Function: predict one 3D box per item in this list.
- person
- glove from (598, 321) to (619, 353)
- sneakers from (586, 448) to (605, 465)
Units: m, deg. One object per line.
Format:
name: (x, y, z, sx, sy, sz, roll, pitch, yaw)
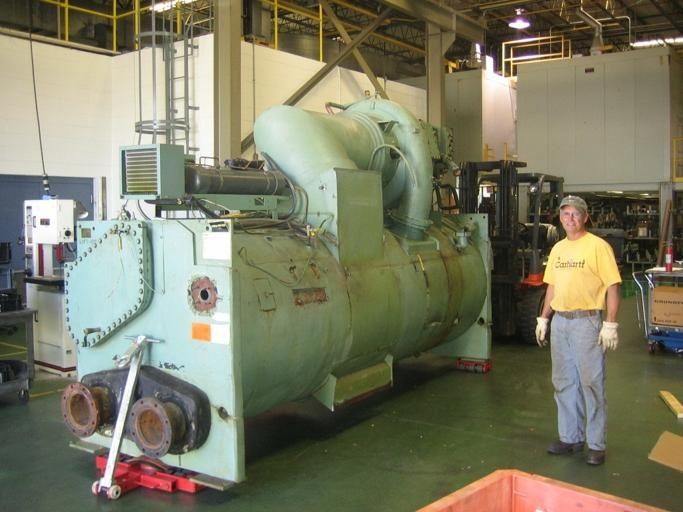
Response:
person: (2.366, 0.718, 6.615, 0.731, 2.583, 0.522, 3, 10, 24)
glove: (2.582, 0.773, 6.390, 0.154, 0.324, 0.164, 3, 10, 21)
sneakers: (2.500, 1.984, 6.507, 0.087, 0.094, 0.214, -8, -12, 34)
